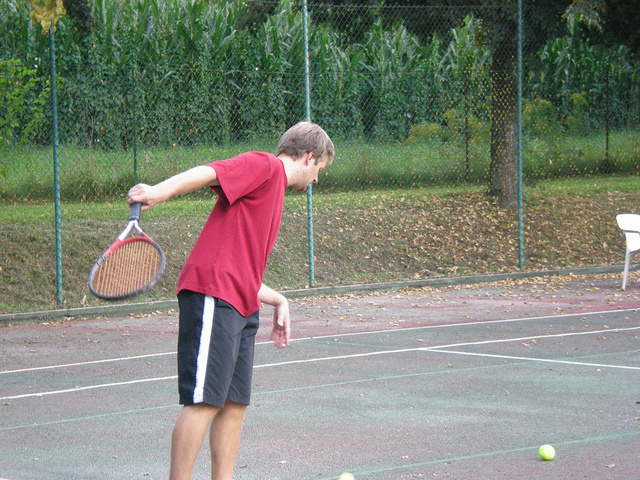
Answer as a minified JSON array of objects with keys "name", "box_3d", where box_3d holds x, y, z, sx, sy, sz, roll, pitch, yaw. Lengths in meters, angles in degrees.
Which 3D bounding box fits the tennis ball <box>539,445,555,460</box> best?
[{"name":"tennis ball","box_3d":[2.274,2.123,8.935,0.128,0.124,0.146,-15,17,17]}]
